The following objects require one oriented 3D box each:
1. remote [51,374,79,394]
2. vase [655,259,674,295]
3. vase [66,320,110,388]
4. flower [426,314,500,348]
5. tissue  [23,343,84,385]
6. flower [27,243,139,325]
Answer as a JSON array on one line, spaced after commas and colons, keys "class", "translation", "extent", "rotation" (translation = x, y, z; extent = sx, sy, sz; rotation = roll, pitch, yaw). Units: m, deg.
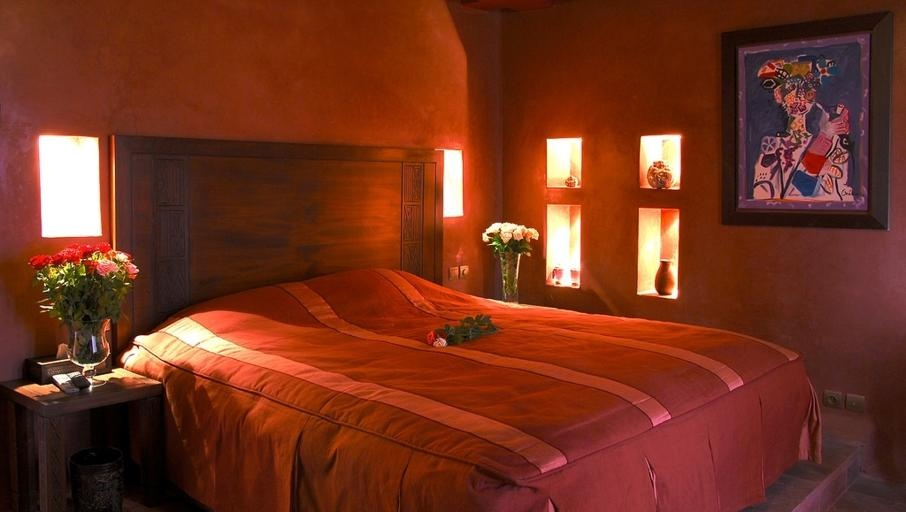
[{"class": "remote", "translation": [-2.421, 0.790, 3.961], "extent": [0.101, 0.031, 0.177], "rotation": [-10, 23, -40]}, {"class": "vase", "translation": [1.816, 0.176, 5.484], "extent": [0.248, 0.286, 0.241], "rotation": [3, 6, 10]}, {"class": "vase", "translation": [-2.340, 0.624, 4.085], "extent": [0.283, 0.403, 0.255], "rotation": [-1, 0, -32]}, {"class": "flower", "translation": [0.047, 0.519, 4.327], "extent": [0.371, 0.107, 0.222], "rotation": [-17, 7, -39]}, {"class": "tissue ", "translation": [-2.605, 0.708, 4.100], "extent": [0.354, 0.110, 0.253], "rotation": [0, -1, 45]}, {"class": "flower", "translation": [-2.416, 0.201, 4.101], "extent": [0.533, 0.485, 0.565], "rotation": [-21, -17, 41]}]
